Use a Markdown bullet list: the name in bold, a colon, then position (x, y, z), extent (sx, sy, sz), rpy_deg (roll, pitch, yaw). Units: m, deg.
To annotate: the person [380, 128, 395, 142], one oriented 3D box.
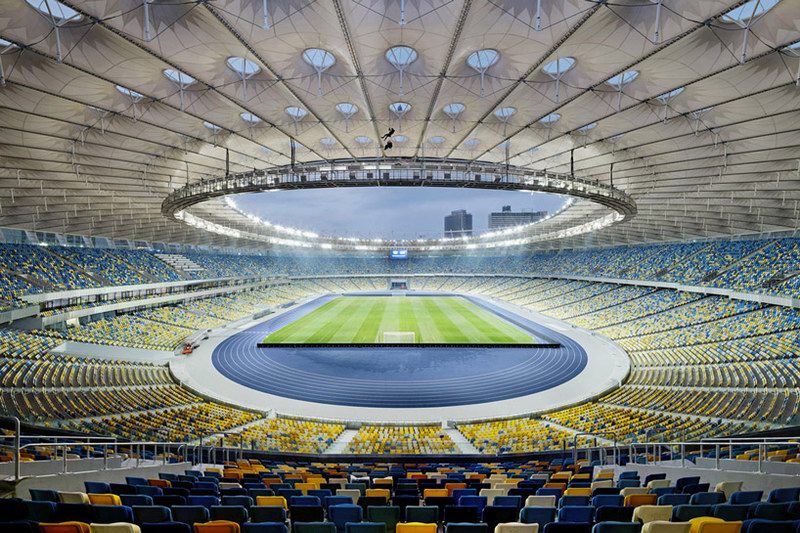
- **person**: position (-0.620, -6.513, 25.309), extent (0.328, 0.279, 0.995), rpy_deg (-25, 5, -12)
